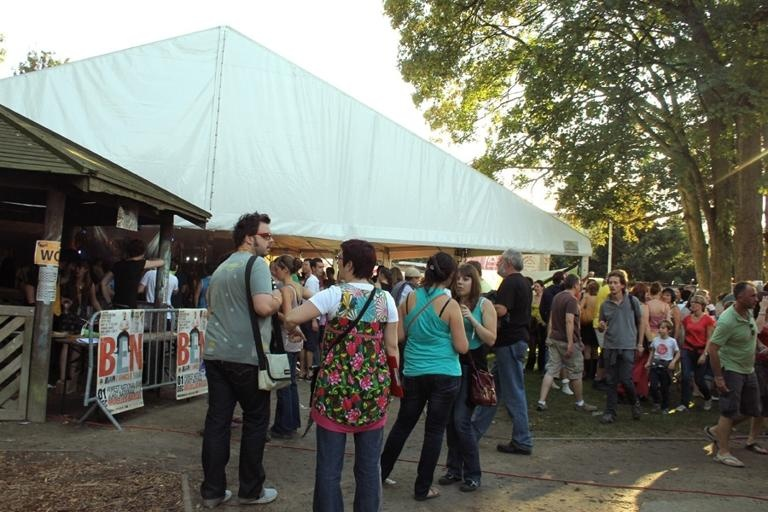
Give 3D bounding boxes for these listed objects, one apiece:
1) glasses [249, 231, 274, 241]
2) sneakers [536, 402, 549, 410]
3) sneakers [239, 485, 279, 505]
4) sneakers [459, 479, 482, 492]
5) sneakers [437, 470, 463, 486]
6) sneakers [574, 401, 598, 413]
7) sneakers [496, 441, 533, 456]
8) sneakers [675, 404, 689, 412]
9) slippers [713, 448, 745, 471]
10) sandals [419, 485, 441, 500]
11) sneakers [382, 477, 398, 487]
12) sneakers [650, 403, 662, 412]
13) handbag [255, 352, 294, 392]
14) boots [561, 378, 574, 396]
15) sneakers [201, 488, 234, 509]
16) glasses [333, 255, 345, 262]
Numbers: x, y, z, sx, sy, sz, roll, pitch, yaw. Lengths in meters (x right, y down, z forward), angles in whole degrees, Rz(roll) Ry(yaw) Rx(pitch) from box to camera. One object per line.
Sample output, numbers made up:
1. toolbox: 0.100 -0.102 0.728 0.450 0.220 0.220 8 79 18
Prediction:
1. glasses: -1.411 -0.224 7.082 0.098 0.101 0.287 -5 -8 28
2. sneakers: 2.836 2.673 10.709 0.111 0.132 0.313 2 -2 23
3. sneakers: -1.404 2.696 6.809 0.336 0.140 0.173 -1 4 -33
4. sneakers: 1.038 2.785 7.243 0.264 0.097 0.112 2 1 -9
5. sneakers: 0.820 2.778 7.504 0.335 0.133 0.121 5 -9 -28
6. sneakers: 3.615 2.707 10.766 0.439 0.206 0.165 -2 4 16
7. sneakers: 1.854 2.705 8.549 0.461 0.199 0.188 4 -4 18
8. sneakers: 5.542 2.842 11.149 0.284 0.120 0.121 6 -10 -29
9. slippers: 4.774 2.812 8.268 0.360 0.157 0.176 3 1 36
10. sandals: 0.528 2.792 7.032 0.212 0.084 0.110 -4 5 -29
11. sneakers: 0.072 2.771 7.369 0.223 0.157 0.082 -1 2 -4
12. sneakers: 5.050 2.838 11.118 0.103 0.134 0.315 -7 -15 40
13. handbag: -1.248 1.300 6.736 0.352 0.412 0.186 0 -7 -13
14. boots: 3.806 2.705 12.420 0.389 0.378 0.176 -1 1 29
15. sneakers: -1.874 2.749 6.776 0.121 0.152 0.363 9 8 18
16. glasses: -0.860 0.039 11.118 0.226 0.070 0.221 0 2 -9
